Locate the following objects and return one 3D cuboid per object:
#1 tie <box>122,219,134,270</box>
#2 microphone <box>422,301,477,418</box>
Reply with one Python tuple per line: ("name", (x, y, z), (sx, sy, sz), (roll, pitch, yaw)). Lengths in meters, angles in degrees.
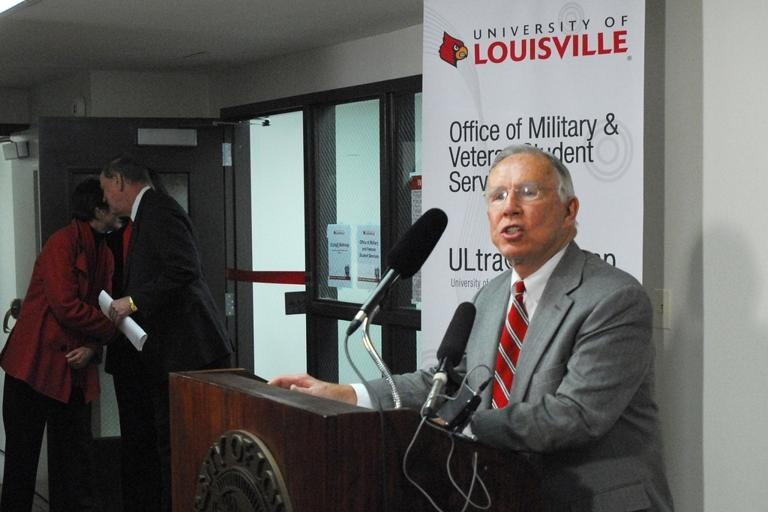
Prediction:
("tie", (-1.755, -0.099, 4.369), (0.072, 0.286, 0.016), (-2, 3, -19))
("microphone", (0.201, 0.289, 1.901), (0.167, 0.357, 0.178), (4, 8, 10))
